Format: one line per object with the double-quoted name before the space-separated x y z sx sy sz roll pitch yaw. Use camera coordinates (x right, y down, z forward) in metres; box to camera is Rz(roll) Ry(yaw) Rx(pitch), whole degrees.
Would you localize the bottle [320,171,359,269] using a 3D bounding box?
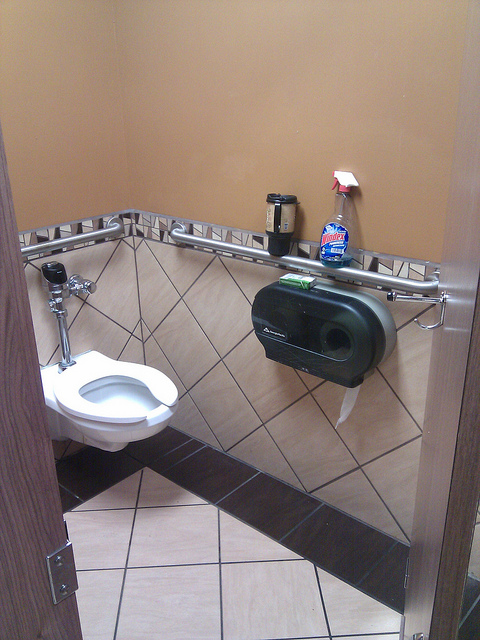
"bottle" 0.266 -0.267 1.525 0.091 0.265 0.108 9 16 24
